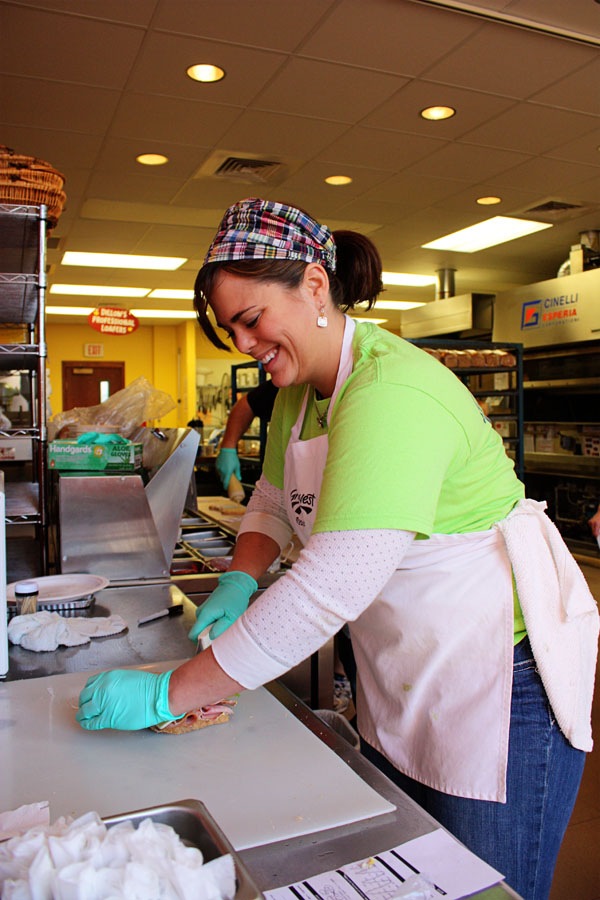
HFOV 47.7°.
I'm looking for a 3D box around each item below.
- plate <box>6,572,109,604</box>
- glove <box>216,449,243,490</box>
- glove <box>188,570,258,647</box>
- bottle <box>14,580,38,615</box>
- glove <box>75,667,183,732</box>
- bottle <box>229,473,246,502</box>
[{"bbox_3d":[-0.556,0.315,1.572,0.143,0.016,0.139,-3,7,-17],"label":"plate"},{"bbox_3d":[-0.303,0.082,2.849,0.062,0.169,0.126,2,8,-3],"label":"glove"},{"bbox_3d":[-0.123,0.272,1.173,0.143,0.061,0.078,-44,39,-23],"label":"glove"},{"bbox_3d":[-0.551,0.298,1.368,0.041,0.062,0.097,3,1,-21],"label":"bottle"},{"bbox_3d":[-0.227,0.324,0.880,0.131,0.076,0.048,-5,-20,9],"label":"glove"},{"bbox_3d":[-0.312,0.187,3.341,0.075,0.064,0.281,19,-3,-4],"label":"bottle"}]
